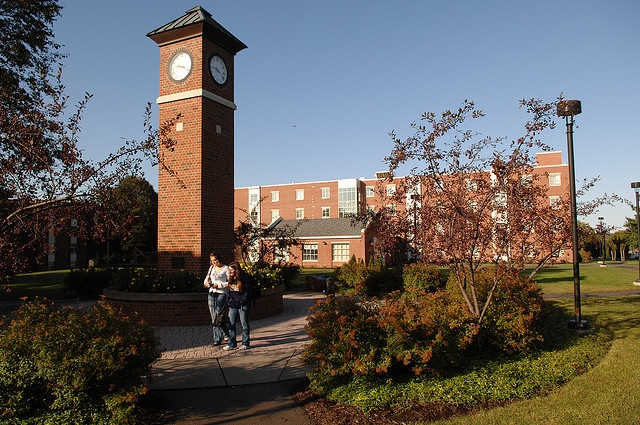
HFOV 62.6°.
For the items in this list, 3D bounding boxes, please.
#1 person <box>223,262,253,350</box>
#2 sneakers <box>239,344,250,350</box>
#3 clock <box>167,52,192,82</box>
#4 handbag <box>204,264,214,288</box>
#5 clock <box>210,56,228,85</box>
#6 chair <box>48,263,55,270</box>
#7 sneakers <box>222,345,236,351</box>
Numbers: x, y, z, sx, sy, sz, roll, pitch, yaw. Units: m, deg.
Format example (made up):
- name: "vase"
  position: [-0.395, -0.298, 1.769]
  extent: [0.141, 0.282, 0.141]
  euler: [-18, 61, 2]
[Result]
- name: "person"
  position: [-2.361, 2.681, 15.186]
  extent: [0.894, 2.451, 0.715]
  euler: [-1, 5, -16]
- name: "sneakers"
  position: [-2.148, 3.857, 15.066]
  extent: [0.267, 0.113, 0.201]
  euler: [-1, 4, -8]
- name: "clock"
  position: [-5.274, -5.489, 19.881]
  extent: [1.052, 1.184, 0.285]
  euler: [2, 5, 25]
- name: "handbag"
  position: [-3.336, 1.902, 15.528]
  extent: [0.158, 0.668, 0.398]
  euler: [5, -5, 7]
- name: "clock"
  position: [-3.929, -5.444, 20.270]
  extent: [0.080, 1.268, 1.225]
  euler: [-7, -6, 26]
- name: "chair"
  position: [-26.539, 5.409, 51.998]
  extent: [0.535, 0.779, 0.529]
  euler: [1, 0, -44]
- name: "sneakers"
  position: [-2.589, 3.879, 15.008]
  extent: [0.329, 0.149, 0.136]
  euler: [7, -8, -2]
